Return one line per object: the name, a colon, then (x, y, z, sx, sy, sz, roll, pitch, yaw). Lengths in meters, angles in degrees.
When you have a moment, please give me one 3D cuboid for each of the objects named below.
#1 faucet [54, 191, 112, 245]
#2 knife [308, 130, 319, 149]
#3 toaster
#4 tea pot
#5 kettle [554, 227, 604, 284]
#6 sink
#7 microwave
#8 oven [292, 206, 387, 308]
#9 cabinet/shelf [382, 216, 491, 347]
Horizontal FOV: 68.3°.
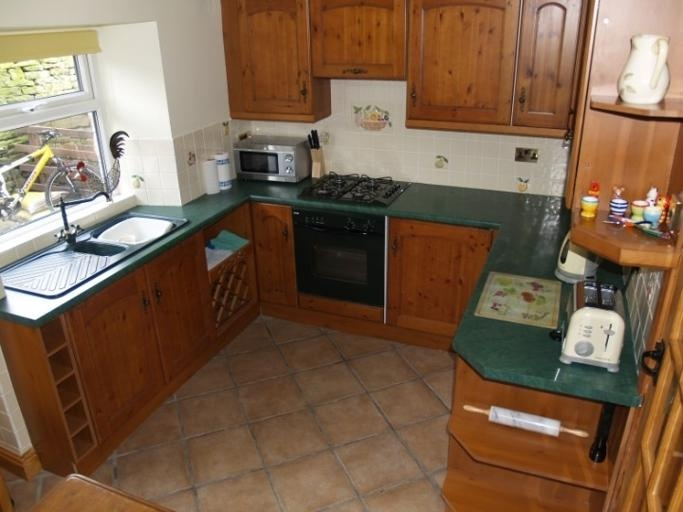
faucet: (-1.607, -0.257, 3.217, 0.194, 0.233, 0.440, 15, 30, 21)
knife: (-0.230, -0.960, 4.178, 0.089, 0.157, 0.038, -1, 36, -1)
toaster: (1.077, 0.292, 2.210, 0.226, 0.220, 0.402, 7, 26, 22)
tea pot: (1.186, -0.737, 2.050, 0.180, 0.303, 0.187, 1, 28, -1)
kettle: (1.198, 0.013, 2.539, 0.173, 0.253, 0.198, -17, 34, -19)
sink: (-1.338, -0.157, 3.398, 0.315, 0.180, 0.307, 13, 34, 19)
microwave: (-0.568, -0.816, 4.213, 0.621, 0.329, 0.315, 9, 25, 16)
oven: (0.078, -0.041, 4.065, 0.696, 0.774, 0.628, 7, 24, 19)
cabinet/shelf: (0.715, 0.017, 3.991, 0.890, 1.229, 0.850, 10, 31, 18)
